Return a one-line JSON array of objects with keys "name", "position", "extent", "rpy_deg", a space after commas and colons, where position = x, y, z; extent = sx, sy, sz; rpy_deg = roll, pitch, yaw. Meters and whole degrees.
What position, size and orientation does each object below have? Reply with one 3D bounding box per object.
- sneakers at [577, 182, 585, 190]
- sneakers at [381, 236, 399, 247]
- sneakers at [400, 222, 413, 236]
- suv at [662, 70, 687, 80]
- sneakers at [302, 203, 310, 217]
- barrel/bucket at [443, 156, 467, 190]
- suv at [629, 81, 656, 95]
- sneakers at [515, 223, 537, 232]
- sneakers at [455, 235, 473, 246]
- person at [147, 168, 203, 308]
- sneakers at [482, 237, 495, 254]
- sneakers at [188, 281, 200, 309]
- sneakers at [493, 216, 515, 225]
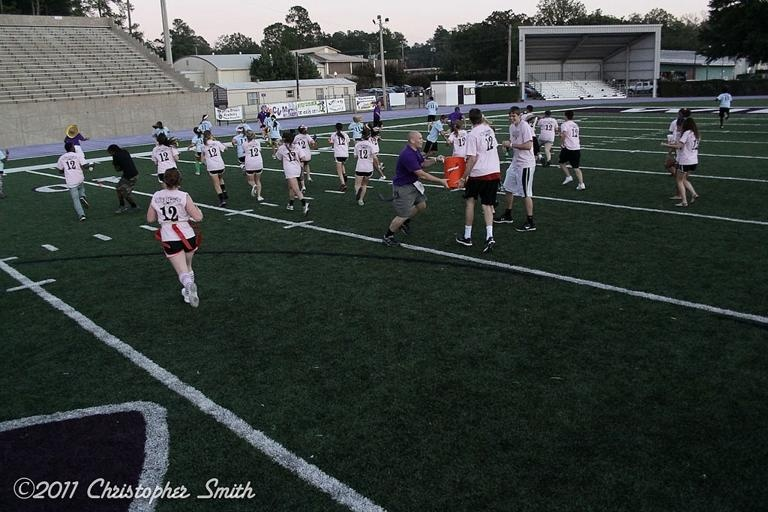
[{"name": "sneakers", "position": [5.326, -1.890, 13.653], "extent": [0.247, 0.194, 0.489], "rpy_deg": [-2, 6, 19]}, {"name": "sneakers", "position": [0.148, -0.293, 9.856], "extent": [0.358, 0.140, 0.147], "rpy_deg": [9, 22, 27]}, {"name": "sneakers", "position": [0.482, -0.550, 10.418], "extent": [0.119, 0.156, 0.373], "rpy_deg": [54, 19, 23]}, {"name": "suv", "position": [39.015, -24.448, 68.173], "extent": [2.729, 1.029, 7.933], "rpy_deg": [6, 22, 27]}, {"name": "sneakers", "position": [-1.855, -1.092, 12.081], "extent": [0.151, 0.305, 0.108], "rpy_deg": [11, 64, 2]}, {"name": "barrel/bucket", "position": [1.301, -1.515, 9.124], "extent": [0.376, 0.535, 0.574], "rpy_deg": [-2, 20, 8]}, {"name": "suv", "position": [27.665, -18.074, 54.388], "extent": [3.286, 1.362, 1.828], "rpy_deg": [2, 16, 10]}, {"name": "sneakers", "position": [2.949, -0.588, 10.437], "extent": [0.476, 0.183, 0.164], "rpy_deg": [1, 8, -2]}, {"name": "sneakers", "position": [1.523, -0.288, 9.638], "extent": [0.143, 0.161, 0.337], "rpy_deg": [-1, 17, -20]}, {"name": "person", "position": [-3.011, -0.139, 7.575], "extent": [0.778, 1.804, 0.605], "rpy_deg": [15, 29, 43]}, {"name": "sneakers", "position": [1.922, -0.232, 9.256], "extent": [0.210, 0.283, 0.343], "rpy_deg": [-2, 20, 10]}, {"name": "sneakers", "position": [-2.825, 0.579, 7.567], "extent": [0.208, 0.405, 0.160], "rpy_deg": [4, 12, 31]}, {"name": "sneakers", "position": [2.608, -0.771, 11.000], "extent": [0.447, 0.162, 0.168], "rpy_deg": [4, 11, 17]}]
